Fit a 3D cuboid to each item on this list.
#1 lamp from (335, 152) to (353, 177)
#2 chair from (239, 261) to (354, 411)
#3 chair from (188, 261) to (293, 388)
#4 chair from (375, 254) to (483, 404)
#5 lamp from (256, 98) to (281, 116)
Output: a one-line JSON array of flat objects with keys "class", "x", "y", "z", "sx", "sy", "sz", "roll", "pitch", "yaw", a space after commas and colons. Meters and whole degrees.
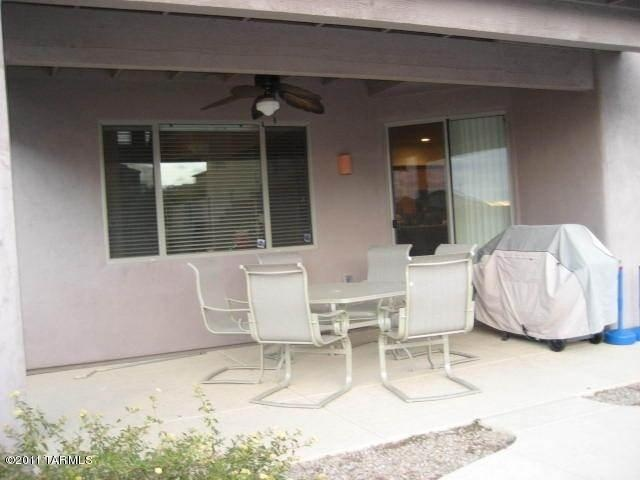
[{"class": "lamp", "x": 0.328, "y": -1.001, "z": 6.997, "sx": 0.201, "sy": 0.309, "sz": 0.093, "roll": -5, "pitch": 6, "yaw": -10}, {"class": "chair", "x": -0.194, "y": 0.799, "z": 4.701, "sx": 0.917, "sy": 1.147, "sz": 1.029, "roll": -1, "pitch": -4, "yaw": 9}, {"class": "chair", "x": -0.829, "y": 0.862, "z": 5.398, "sx": 0.882, "sy": 1.025, "sz": 0.805, "roll": -1, "pitch": -7, "yaw": 8}, {"class": "chair", "x": 1.003, "y": 0.724, "z": 4.575, "sx": 0.897, "sy": 1.011, "sz": 0.861, "roll": -1, "pitch": -9, "yaw": -31}, {"class": "lamp", "x": -0.562, "y": -1.331, "z": 5.300, "sx": 0.185, "sy": 0.149, "sz": 0.287, "roll": -8, "pitch": 7, "yaw": -42}]
